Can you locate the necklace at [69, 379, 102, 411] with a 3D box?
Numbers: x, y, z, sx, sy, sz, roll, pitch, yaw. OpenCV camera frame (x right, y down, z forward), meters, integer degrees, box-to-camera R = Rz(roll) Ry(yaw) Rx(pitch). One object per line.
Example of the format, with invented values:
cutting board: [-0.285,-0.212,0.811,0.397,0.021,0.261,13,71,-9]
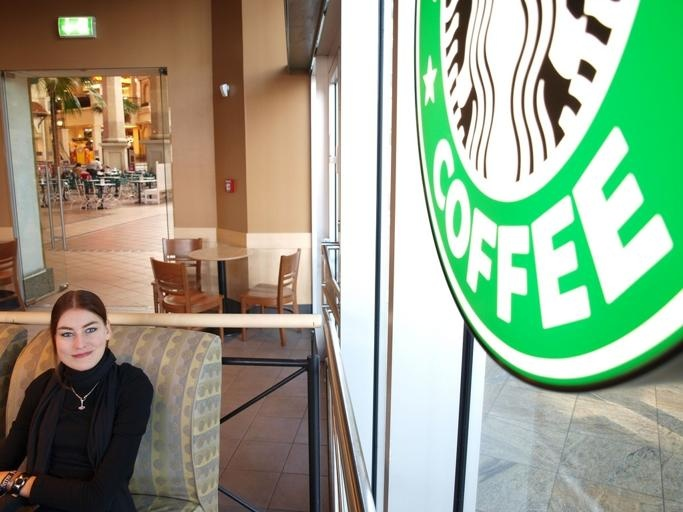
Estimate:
necklace: [-0.843,0.454,1.686,0.089,0.120,0.009,6,-6,-10]

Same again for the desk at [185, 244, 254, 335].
desk: [-1.260,0.291,5.435,0.760,0.914,0.786,-14,23,-42]

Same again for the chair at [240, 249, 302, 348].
chair: [-0.720,0.383,5.116,0.602,0.920,0.916,-1,6,-6]

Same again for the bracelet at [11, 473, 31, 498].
bracelet: [-0.989,0.694,1.567,0.040,0.024,0.060,15,26,-10]
